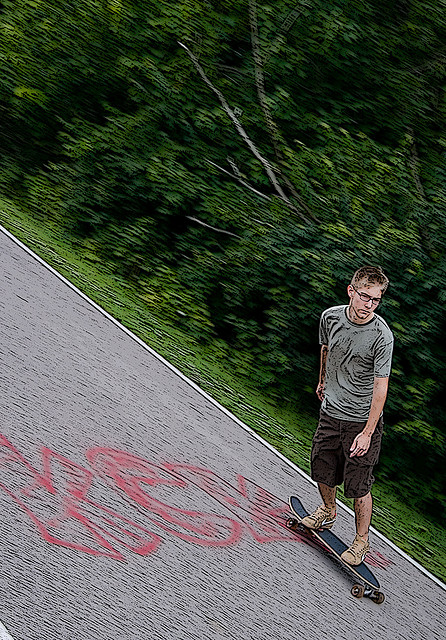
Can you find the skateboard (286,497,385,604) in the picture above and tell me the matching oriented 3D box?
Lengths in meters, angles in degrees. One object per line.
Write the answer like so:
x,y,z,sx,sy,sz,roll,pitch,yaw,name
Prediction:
0.892,1.720,6.501,1.221,0.183,0.355,33,21,36,skateboard
